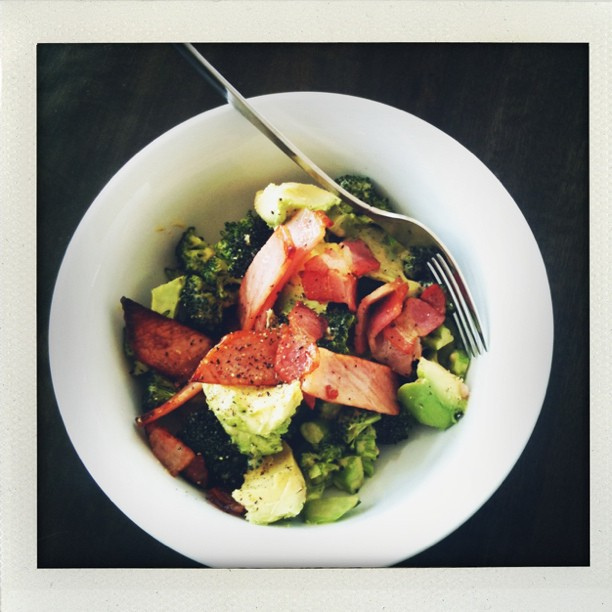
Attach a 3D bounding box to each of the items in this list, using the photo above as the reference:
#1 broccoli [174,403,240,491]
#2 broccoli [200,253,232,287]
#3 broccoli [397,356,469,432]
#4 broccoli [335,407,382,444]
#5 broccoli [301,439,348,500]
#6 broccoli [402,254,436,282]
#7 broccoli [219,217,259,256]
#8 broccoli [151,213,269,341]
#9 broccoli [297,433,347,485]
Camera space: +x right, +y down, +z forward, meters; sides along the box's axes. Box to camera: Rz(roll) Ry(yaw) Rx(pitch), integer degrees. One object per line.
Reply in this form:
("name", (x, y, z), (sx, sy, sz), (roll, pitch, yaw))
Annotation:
("broccoli", (-0.233, 0.337, 1.864), (0.159, 0.056, 0.181), (-12, 88, 8))
("broccoli", (-0.223, -0.092, 1.921), (0.077, 0.022, 0.075), (-41, 87, -11))
("broccoli", (0.317, 0.226, 1.900), (0.164, 0.077, 0.136), (29, 67, 14))
("broccoli", (0.129, 0.286, 1.907), (0.105, 0.041, 0.071), (-18, 82, 2))
("broccoli", (0.043, 0.399, 1.908), (0.117, 0.070, 0.129), (2, 90, 15))
("broccoli", (0.285, -0.093, 1.907), (0.058, 0.072, 0.027), (20, 103, -13))
("broccoli", (-0.161, -0.172, 1.921), (0.104, 0.025, 0.091), (-21, 82, 11))
("broccoli", (-0.228, -0.082, 2.027), (0.281, 0.160, 0.324), (20, 100, 2))
("broccoli", (0.038, 0.372, 1.879), (0.095, 0.054, 0.124), (37, 80, -2))
